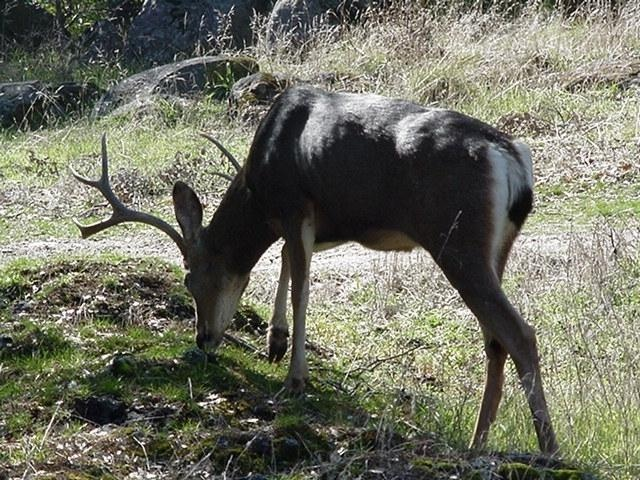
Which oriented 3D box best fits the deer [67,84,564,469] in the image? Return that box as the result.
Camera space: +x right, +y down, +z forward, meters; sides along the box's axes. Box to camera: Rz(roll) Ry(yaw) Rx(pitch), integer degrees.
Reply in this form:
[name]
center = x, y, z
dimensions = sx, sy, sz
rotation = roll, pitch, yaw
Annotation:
[deer]
center = 0.184, 0.008, 6.853
dimensions = 3.863, 2.848, 2.008
rotation = 3, 0, 32
